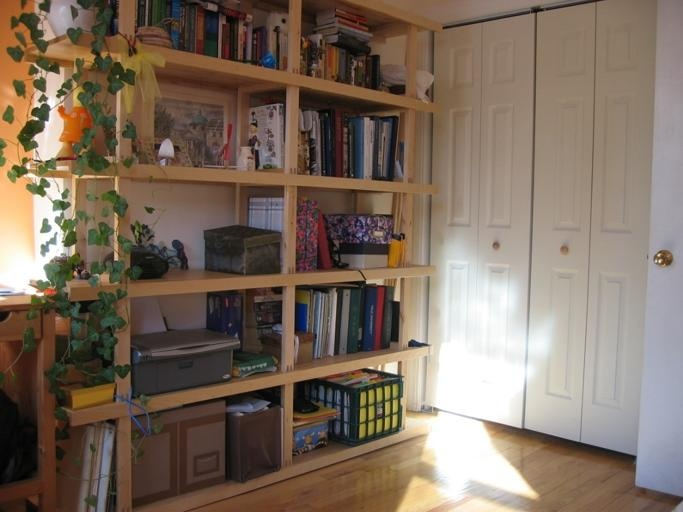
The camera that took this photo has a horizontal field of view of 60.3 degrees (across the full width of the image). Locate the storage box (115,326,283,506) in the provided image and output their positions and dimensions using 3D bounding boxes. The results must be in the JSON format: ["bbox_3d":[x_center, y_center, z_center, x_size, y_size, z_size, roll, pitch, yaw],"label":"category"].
[{"bbox_3d":[-0.681,0.688,2.905,0.764,0.736,0.594,-3,2,-43],"label":"storage box"}]

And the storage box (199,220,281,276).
[{"bbox_3d":[-0.508,-0.020,3.013,0.417,0.170,0.241,6,4,-8],"label":"storage box"}]

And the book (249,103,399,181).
[{"bbox_3d":[-0.014,-0.610,3.437,1.089,0.511,0.375,-3,6,-43],"label":"book"}]
